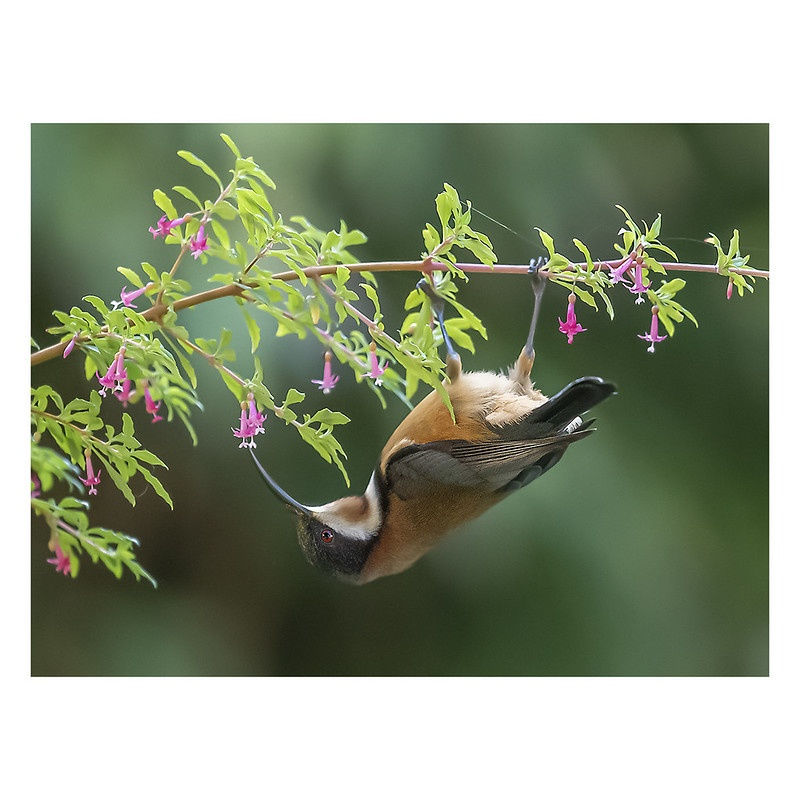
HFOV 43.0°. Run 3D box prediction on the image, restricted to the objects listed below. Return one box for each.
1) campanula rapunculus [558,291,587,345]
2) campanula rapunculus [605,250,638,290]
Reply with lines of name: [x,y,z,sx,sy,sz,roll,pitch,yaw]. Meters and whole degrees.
campanula rapunculus: [0.506,-0.253,3.041,0.079,0.123,0.068,2,6,-41]
campanula rapunculus: [0.654,-0.379,2.995,0.104,0.088,0.082,-4,-16,4]
